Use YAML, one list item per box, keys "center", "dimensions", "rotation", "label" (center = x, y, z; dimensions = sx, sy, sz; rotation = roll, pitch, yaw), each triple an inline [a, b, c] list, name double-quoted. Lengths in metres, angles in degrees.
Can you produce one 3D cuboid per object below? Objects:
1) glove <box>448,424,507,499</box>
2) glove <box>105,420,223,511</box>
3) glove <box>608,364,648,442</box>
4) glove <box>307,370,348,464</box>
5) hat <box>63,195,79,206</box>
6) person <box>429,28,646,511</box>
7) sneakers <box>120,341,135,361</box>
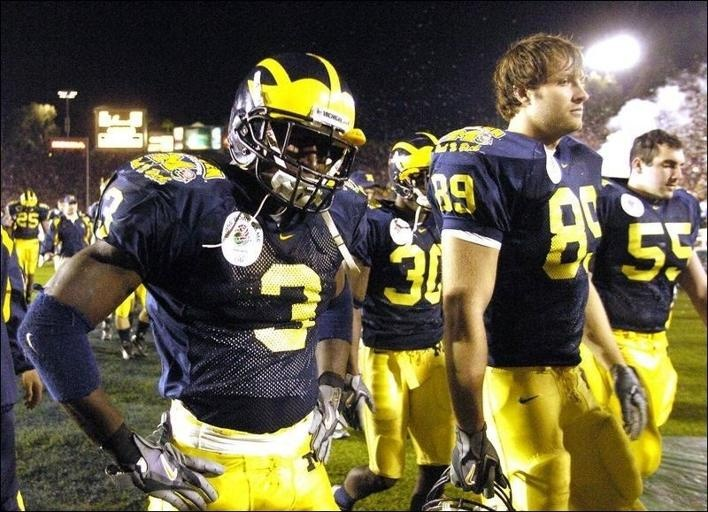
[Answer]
- center: [0.534, 0.921, 2.923]
  dimensions: [0.243, 0.314, 0.126]
  rotation: [3, 6, 17]
  label: "glove"
- center: [-0.761, 0.868, 2.706]
  dimensions: [0.473, 0.323, 0.179]
  rotation: [24, -29, -14]
  label: "glove"
- center: [1.434, 0.781, 3.498]
  dimensions: [0.113, 0.368, 0.189]
  rotation: [-12, -18, 1]
  label: "glove"
- center: [-0.121, 0.768, 3.114]
  dimensions: [0.145, 0.377, 0.138]
  rotation: [6, -33, -2]
  label: "glove"
- center: [-3.890, -0.764, 9.085]
  dimensions: [0.190, 0.186, 0.149]
  rotation: [-11, -6, 36]
  label: "hat"
- center: [0.843, 0.059, 3.115]
  dimensions: [1.012, 2.209, 0.583]
  rotation: [1, 5, -4]
  label: "person"
- center: [-2.619, 1.094, 7.599]
  dimensions: [0.094, 0.122, 0.278]
  rotation: [7, 3, -41]
  label: "sneakers"
